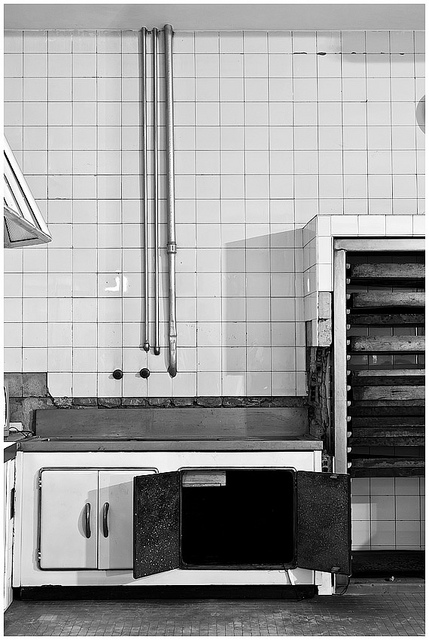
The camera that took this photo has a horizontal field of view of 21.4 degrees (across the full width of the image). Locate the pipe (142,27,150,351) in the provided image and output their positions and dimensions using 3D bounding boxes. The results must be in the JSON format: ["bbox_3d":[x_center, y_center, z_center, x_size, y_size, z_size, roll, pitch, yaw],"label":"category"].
[{"bbox_3d":[-0.378,-0.723,6.199,0.038,1.778,0.052,-1,-2,-4],"label":"pipe"}]

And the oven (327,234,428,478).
[{"bbox_3d":[0.840,0.203,5.847,0.619,1.283,0.608,-1,-2,-10],"label":"oven"}]

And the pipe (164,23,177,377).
[{"bbox_3d":[-0.238,-0.656,6.182,0.060,1.930,0.102,-1,-2,-3],"label":"pipe"}]
